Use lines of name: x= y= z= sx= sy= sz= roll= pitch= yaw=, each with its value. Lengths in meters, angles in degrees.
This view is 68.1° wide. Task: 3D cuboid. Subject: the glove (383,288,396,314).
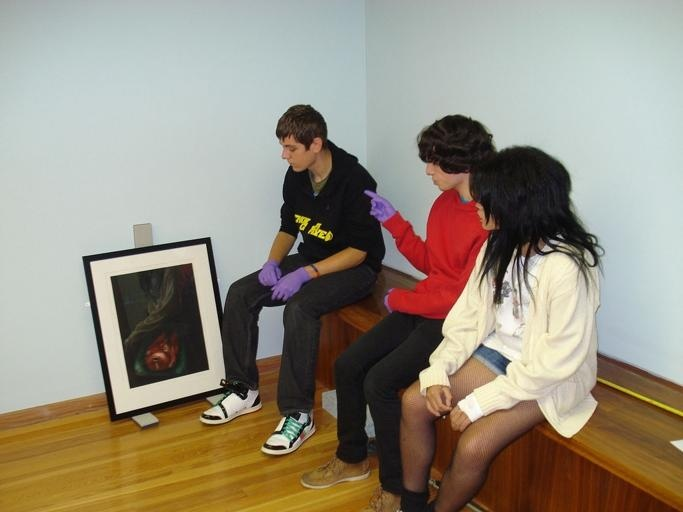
glove: x=0.231 y=0.216 z=2.400 sx=0.087 sy=0.118 sz=0.041 roll=4 pitch=-3 yaw=4

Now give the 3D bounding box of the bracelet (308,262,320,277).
bracelet: x=-0.148 y=0.079 z=2.701 sx=0.055 sy=0.058 sz=0.057 roll=-14 pitch=2 yaw=-11

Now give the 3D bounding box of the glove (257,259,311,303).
glove: x=-0.306 y=0.100 z=2.708 sx=0.187 sy=0.247 sz=0.066 roll=-1 pitch=-27 yaw=7

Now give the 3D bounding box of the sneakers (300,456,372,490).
sneakers: x=-0.031 y=0.987 z=2.322 sx=0.318 sy=0.141 sz=0.125 roll=-2 pitch=3 yaw=-9

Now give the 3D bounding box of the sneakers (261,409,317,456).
sneakers: x=-0.246 y=0.868 z=2.546 sx=0.118 sy=0.152 sz=0.317 roll=11 pitch=12 yaw=34

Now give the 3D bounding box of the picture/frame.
picture/frame: x=-1.082 y=0.449 z=2.857 sx=0.807 sy=1.097 sz=0.047 roll=-8 pitch=1 yaw=-33

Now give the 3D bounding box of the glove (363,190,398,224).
glove: x=0.199 y=-0.255 z=2.630 sx=0.083 sy=0.106 sz=0.254 roll=-21 pitch=51 yaw=-34
